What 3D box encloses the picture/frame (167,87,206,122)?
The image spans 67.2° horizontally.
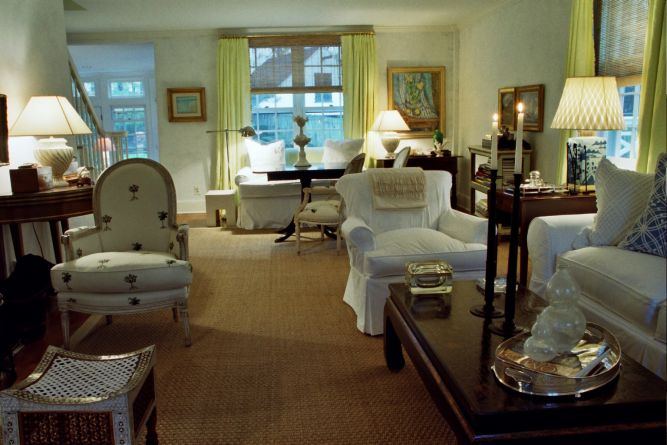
[{"bbox_3d":[-2.263,-1.816,7.653,0.542,0.528,0.042,0,8,-6],"label":"picture/frame"}]

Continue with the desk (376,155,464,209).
[{"bbox_3d":[0.874,-0.456,5.231,0.907,0.829,0.373,-1,18,-4],"label":"desk"}]

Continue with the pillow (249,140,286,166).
[{"bbox_3d":[-0.980,-1.003,7.361,0.459,0.404,0.173,-2,-16,-9],"label":"pillow"}]

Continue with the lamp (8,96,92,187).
[{"bbox_3d":[-2.456,-0.743,4.625,0.753,0.736,0.703,-1,5,-6],"label":"lamp"}]

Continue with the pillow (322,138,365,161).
[{"bbox_3d":[0.135,-1.036,7.228,0.547,0.447,0.248,6,17,9],"label":"pillow"}]

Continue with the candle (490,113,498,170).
[{"bbox_3d":[0.819,-0.404,2.566,0.048,0.334,0.045,5,46,19],"label":"candle"}]

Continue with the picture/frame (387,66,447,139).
[{"bbox_3d":[1.256,-1.918,7.818,1.195,1.423,0.070,-1,8,-7],"label":"picture/frame"}]

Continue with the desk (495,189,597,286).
[{"bbox_3d":[1.801,-0.075,4.336,0.551,0.483,0.425,22,13,27],"label":"desk"}]

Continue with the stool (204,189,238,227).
[{"bbox_3d":[-1.559,-0.202,6.939,0.500,0.492,0.487,-1,4,-4],"label":"stool"}]

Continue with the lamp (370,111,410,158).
[{"bbox_3d":[0.842,-1.365,7.675,0.540,0.688,0.505,-3,14,4],"label":"lamp"}]

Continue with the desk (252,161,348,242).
[{"bbox_3d":[-0.384,-0.116,6.179,0.955,0.870,1.180,0,12,-2],"label":"desk"}]
